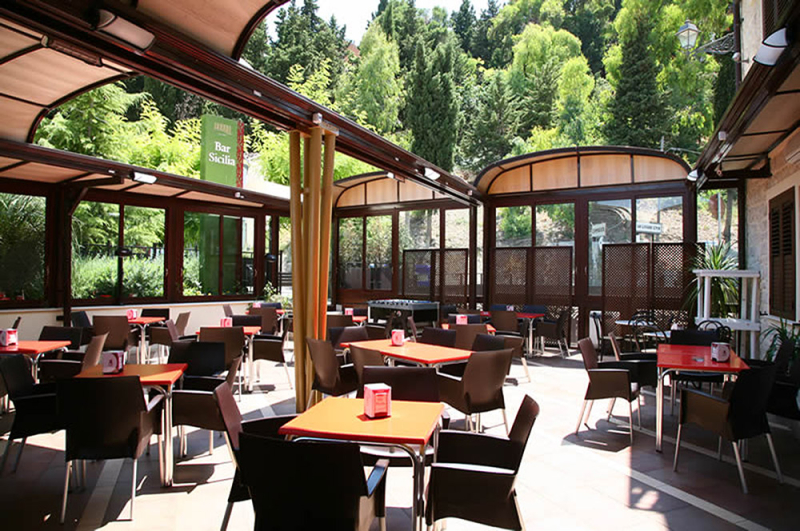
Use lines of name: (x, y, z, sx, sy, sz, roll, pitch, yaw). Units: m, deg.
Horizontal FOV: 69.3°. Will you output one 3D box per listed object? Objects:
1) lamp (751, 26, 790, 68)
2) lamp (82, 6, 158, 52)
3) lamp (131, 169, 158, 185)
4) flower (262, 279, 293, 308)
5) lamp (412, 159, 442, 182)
lamp: (4.451, -2.615, 6.959, 0.305, 0.352, 0.413, -2, -2, 3)
lamp: (-3.049, -2.590, 6.352, 0.399, 0.165, 0.409, 24, 2, 35)
lamp: (-5.096, -1.798, 11.646, 0.311, 0.228, 0.751, -2, -1, 13)
flower: (-3.347, 0.826, 16.073, 0.924, 0.677, 0.985, 3, 1, 5)
lamp: (0.579, -1.908, 11.699, 0.350, 0.213, 1.725, -2, -1, 13)
